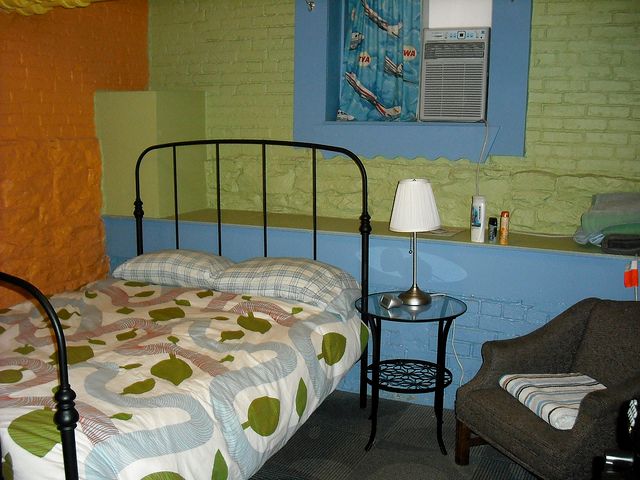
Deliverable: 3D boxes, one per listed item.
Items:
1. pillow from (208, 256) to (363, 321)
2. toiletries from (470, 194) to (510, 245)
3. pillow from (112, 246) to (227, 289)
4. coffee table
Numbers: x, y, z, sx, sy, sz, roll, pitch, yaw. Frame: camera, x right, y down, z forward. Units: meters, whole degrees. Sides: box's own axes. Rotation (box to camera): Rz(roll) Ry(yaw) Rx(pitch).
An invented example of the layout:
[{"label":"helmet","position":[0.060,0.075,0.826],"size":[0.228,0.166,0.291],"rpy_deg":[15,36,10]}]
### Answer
[{"label":"pillow","position":[-0.171,0.227,2.687],"size":[0.705,0.241,0.381],"rpy_deg":[4,13,13]},{"label":"toiletries","position":[0.959,-0.134,2.945],"size":[0.205,0.232,0.475],"rpy_deg":[5,13,15]},{"label":"pillow","position":[-0.814,0.152,2.806],"size":[0.617,0.151,0.235],"rpy_deg":[3,13,12]},{"label":"coffee table","position":[0.443,0.657,2.793],"size":[0.658,0.718,0.567],"rpy_deg":[6,11,19]}]
